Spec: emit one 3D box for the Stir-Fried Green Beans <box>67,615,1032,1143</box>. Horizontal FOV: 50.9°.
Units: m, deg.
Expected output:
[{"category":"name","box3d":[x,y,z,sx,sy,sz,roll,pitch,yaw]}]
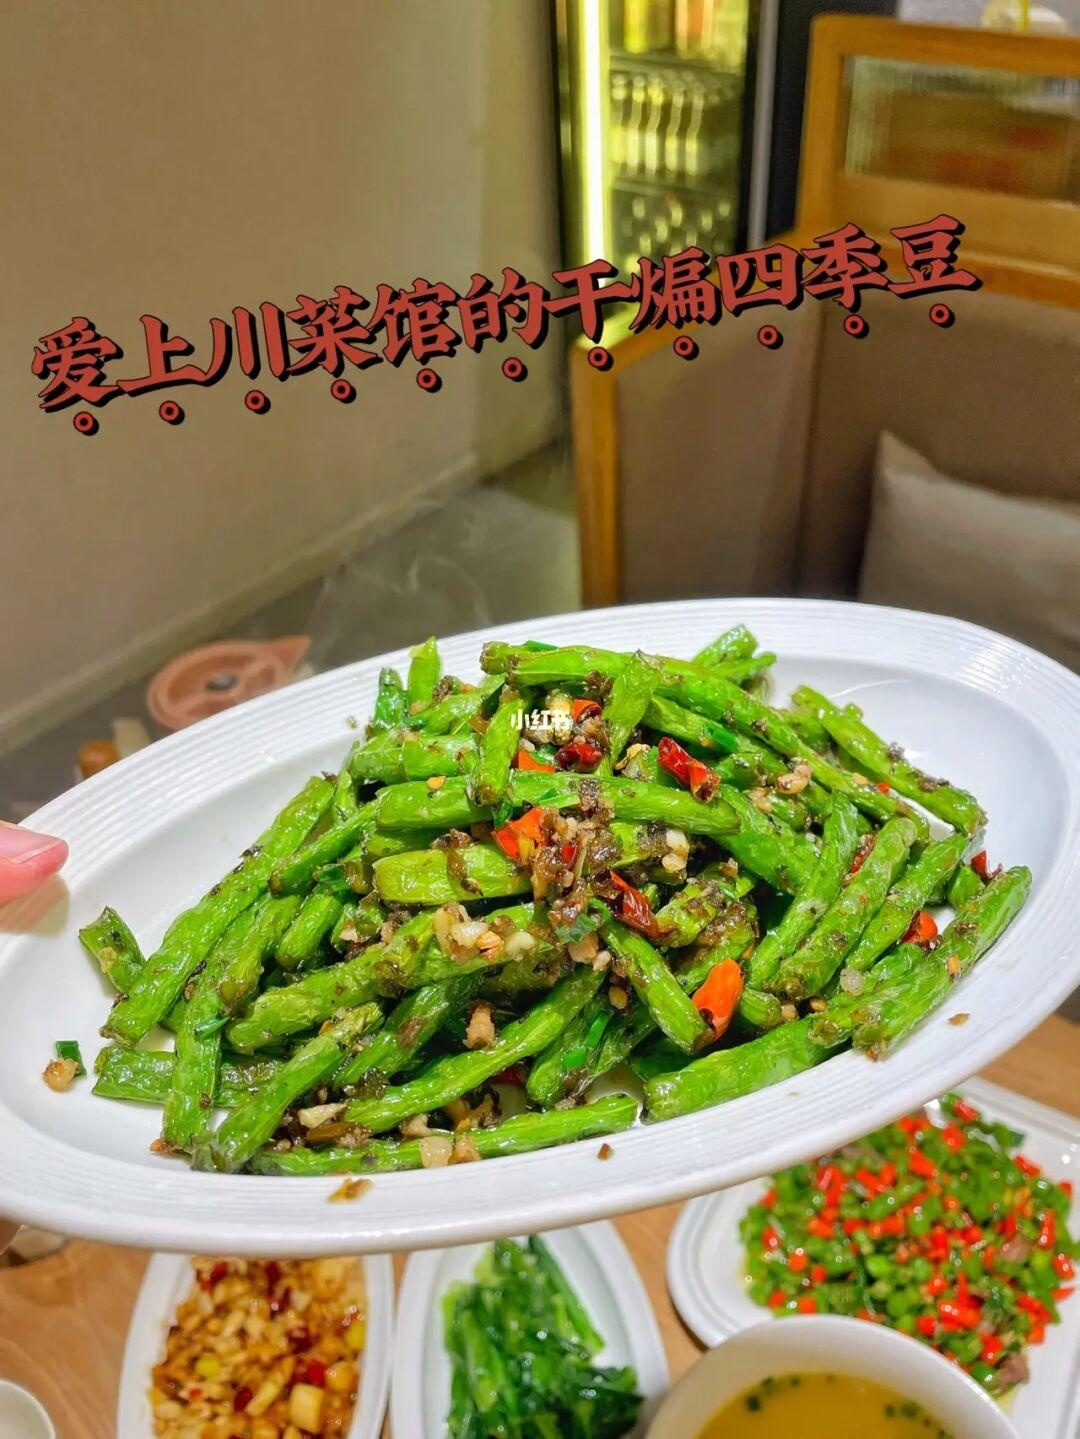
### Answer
[{"category":"Stir-Fried Green Beans","box3d":[0.039,0.087,0.852,0.602,0.111,0.432,-1,57,23]}]
